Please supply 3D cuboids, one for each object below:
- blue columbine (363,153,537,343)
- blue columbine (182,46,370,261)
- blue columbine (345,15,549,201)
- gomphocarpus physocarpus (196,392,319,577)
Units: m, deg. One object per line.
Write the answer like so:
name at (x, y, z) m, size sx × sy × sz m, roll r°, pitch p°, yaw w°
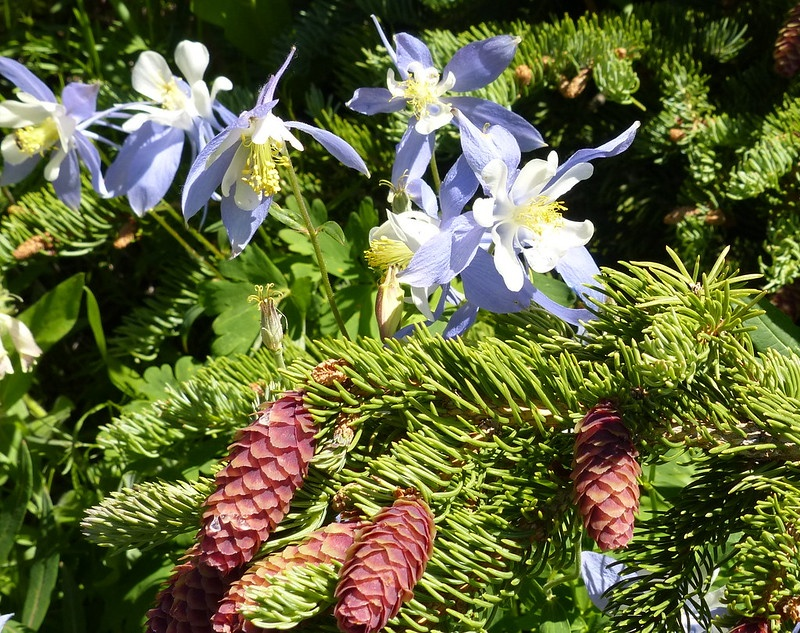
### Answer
blue columbine at (0.066, -0.095, 1.245) m, size 0.163 × 0.269 × 0.206 m, roll -3°, pitch 12°, yaw -7°
blue columbine at (-0.193, -0.210, 1.318) m, size 0.172 × 0.358 × 0.172 m, roll -5°, pitch 17°, yaw -29°
blue columbine at (0.070, -0.138, 1.233) m, size 0.059 × 0.195 × 0.172 m, roll 25°, pitch 74°, yaw 5°
gomphocarpus physocarpus at (-0.161, 0.158, 1.219) m, size 0.156 × 0.184 × 0.250 m, roll -11°, pitch 18°, yaw -22°
